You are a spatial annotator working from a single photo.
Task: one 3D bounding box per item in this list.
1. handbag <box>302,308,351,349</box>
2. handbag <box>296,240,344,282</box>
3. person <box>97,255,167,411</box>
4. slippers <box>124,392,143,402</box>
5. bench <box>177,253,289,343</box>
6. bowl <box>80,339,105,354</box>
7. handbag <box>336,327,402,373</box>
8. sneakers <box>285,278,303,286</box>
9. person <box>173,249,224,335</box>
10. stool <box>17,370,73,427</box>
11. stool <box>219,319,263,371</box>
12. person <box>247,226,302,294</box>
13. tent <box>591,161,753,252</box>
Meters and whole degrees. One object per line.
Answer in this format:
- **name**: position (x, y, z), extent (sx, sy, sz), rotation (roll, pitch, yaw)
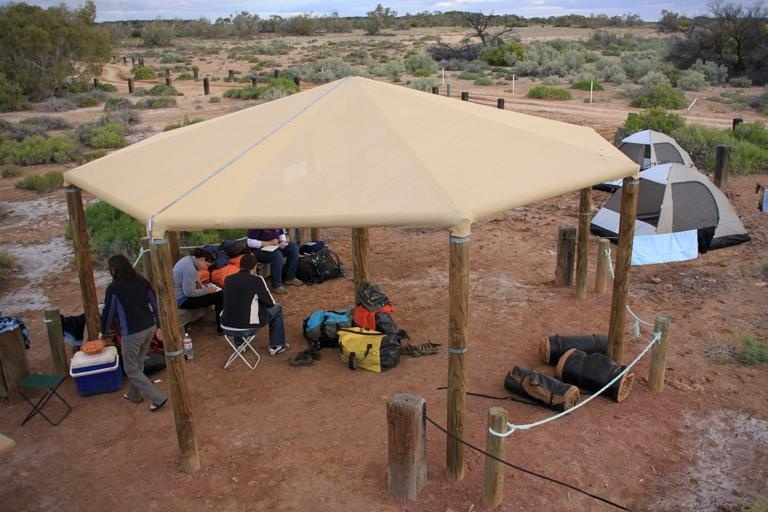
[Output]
- **handbag**: position (-1.018, 1.313, 10.058), extent (0.793, 0.345, 0.637), rotation (-2, 39, 1)
- **handbag**: position (-1.439, 0.168, 12.349), extent (0.926, 1.007, 0.736), rotation (-2, 7, -33)
- **person**: position (-3.819, 1.173, 8.562), extent (0.945, 2.458, 0.632), rotation (10, 23, 31)
- **slippers**: position (-3.988, 2.268, 8.884), extent (0.258, 0.092, 0.126), rotation (12, 16, 16)
- **bench**: position (-2.794, 0.584, 9.945), extent (1.316, 1.194, 2.017), rotation (-1, 19, -26)
- **bowl**: position (-4.607, 1.448, 8.956), extent (0.269, 0.095, 0.266), rotation (2, 5, 0)
- **handbag**: position (-0.320, 1.535, 9.634), extent (1.114, 0.690, 0.603), rotation (7, 34, 21)
- **sneakers**: position (-1.951, 0.576, 12.174), extent (0.277, 0.112, 0.163), rotation (0, 14, 7)
- **person**: position (-3.326, 0.654, 10.329), extent (1.083, 1.583, 0.704), rotation (-6, 15, -5)
- **stool**: position (-5.254, 2.250, 8.668), extent (0.701, 0.648, 0.710), rotation (7, 13, -1)
- **stool**: position (-2.498, 1.435, 9.628), extent (0.643, 0.875, 0.527), rotation (2, 11, -11)
- **person**: position (-2.330, -0.244, 11.862), extent (1.127, 1.815, 1.049), rotation (13, 18, 43)
- **tent**: position (6.807, -1.304, 13.357), extent (3.031, 1.529, 2.955), rotation (-8, 23, -3)
